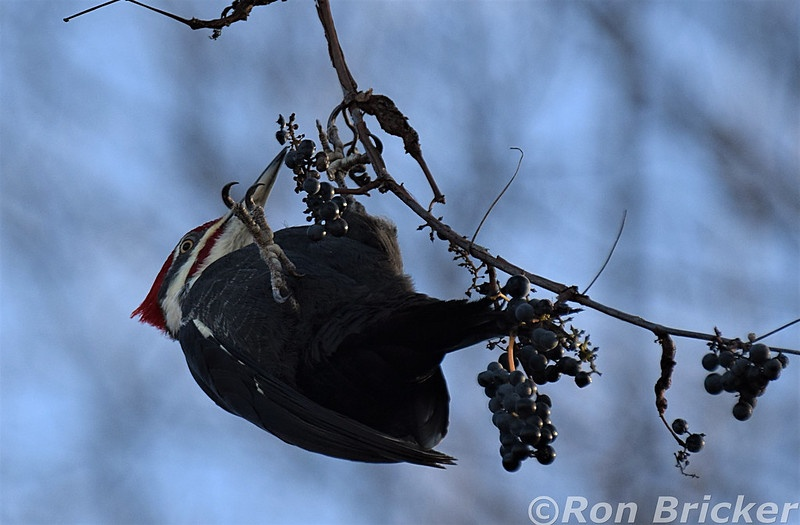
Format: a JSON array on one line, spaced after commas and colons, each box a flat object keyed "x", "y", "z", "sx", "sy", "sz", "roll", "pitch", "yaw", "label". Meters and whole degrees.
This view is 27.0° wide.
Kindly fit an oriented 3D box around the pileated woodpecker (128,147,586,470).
[{"x": -0.130, "y": 0.257, "z": 6.396, "sx": 0.523, "sy": 1.115, "sz": 1.590, "roll": -42, "pitch": 27, "yaw": -18, "label": "pileated woodpecker"}]
